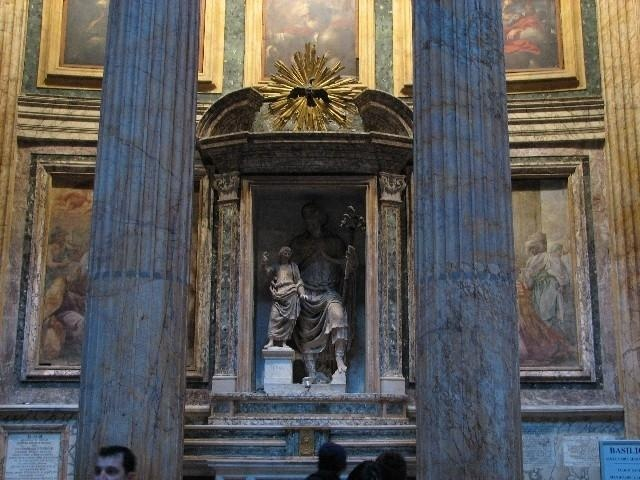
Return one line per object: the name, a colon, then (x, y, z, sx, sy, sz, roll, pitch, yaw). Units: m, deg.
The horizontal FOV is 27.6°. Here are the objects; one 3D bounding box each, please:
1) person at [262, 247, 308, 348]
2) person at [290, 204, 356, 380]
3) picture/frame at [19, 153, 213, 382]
person: (-0.389, 0.654, 14.662, 0.416, 1.242, 0.511, 0, -17, -1)
person: (0.030, 0.616, 14.703, 0.835, 2.119, 0.794, -9, -17, 23)
picture/frame: (-1.996, 0.352, 12.425, 2.237, 3.180, 0.400, 0, -11, 0)
